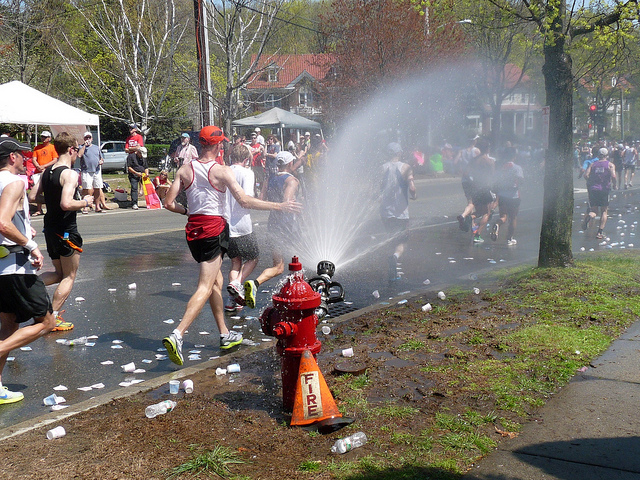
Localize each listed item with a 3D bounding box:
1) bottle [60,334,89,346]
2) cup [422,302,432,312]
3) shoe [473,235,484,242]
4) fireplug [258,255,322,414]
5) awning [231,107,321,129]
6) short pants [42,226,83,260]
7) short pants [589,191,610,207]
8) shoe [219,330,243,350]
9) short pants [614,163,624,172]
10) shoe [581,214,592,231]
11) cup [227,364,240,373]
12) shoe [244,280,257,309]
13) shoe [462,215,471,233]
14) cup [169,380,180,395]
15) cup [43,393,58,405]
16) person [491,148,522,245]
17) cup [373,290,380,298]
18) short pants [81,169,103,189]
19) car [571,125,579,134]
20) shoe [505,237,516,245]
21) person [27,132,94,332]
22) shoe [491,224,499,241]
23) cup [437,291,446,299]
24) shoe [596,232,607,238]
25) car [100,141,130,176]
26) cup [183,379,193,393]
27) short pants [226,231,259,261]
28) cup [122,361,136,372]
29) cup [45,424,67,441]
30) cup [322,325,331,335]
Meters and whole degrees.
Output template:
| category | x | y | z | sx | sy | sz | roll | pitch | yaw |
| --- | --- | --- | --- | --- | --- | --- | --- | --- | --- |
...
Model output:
| category | x | y | z | sx | sy | sz | roll | pitch | yaw |
| --- | --- | --- | --- | --- | --- | --- | --- | --- | --- |
| bottle | -2.900 | 1.155 | 6.815 | 0.330 | 0.070 | 0.225 | -2 | 10 | -2 |
| cup | 1.336 | 0.838 | 7.423 | 0.090 | 0.090 | 0.144 | -15 | 0 | 30 |
| shoe | 3.542 | -0.036 | 12.907 | 0.262 | 0.176 | 0.088 | -10 | 18 | -26 |
| fireplug | -0.223 | 0.774 | 4.941 | 0.687 | 1.139 | 0.610 | 7 | 10 | -17 |
| awning | -2.130 | -6.079 | 29.095 | 1.873 | 1.001 | 4.603 | 3 | 11 | 24 |
| short pants | -3.033 | 0.050 | 6.798 | 0.410 | 0.373 | 0.262 | -4 | 0 | 13 |
| short pants | 6.457 | -0.941 | 13.429 | 0.504 | 0.378 | 0.296 | -2 | -5 | 23 |
| shoe | -1.007 | 1.123 | 6.628 | 0.119 | 0.129 | 0.283 | 5 | 11 | 36 |
| short pants | 13.045 | -3.137 | 25.396 | 0.359 | 0.427 | 0.881 | 4 | 11 | 26 |
| shoe | 6.131 | -0.401 | 13.370 | 0.167 | 0.450 | 0.192 | 21 | -11 | 2 |
| cup | -0.865 | 1.256 | 5.765 | 0.119 | 0.070 | 0.121 | -1 | 10 | 0 |
| shoe | -0.838 | 0.648 | 6.988 | 0.127 | 0.319 | 0.148 | -2 | 28 | 18 |
| shoe | 3.344 | -0.368 | 13.281 | 0.153 | 0.454 | 0.312 | 2 | 43 | 20 |
| cup | -1.330 | 1.331 | 5.331 | 0.108 | 0.097 | 0.099 | 0 | 5 | 0 |
| cup | -2.470 | 1.430 | 5.302 | 0.100 | 0.074 | 0.090 | -1 | -4 | -18 |
| person | 4.010 | -0.918 | 12.522 | 0.602 | 2.062 | 0.541 | 1 | 10 | 14 |
| cup | 0.804 | 0.766 | 8.350 | 0.077 | 0.057 | 0.077 | -5 | 4 | 0 |
| short pants | -6.498 | -1.703 | 16.421 | 0.668 | 0.596 | 0.376 | -4 | 19 | -17 |
| car | 35.218 | -14.976 | 79.880 | 0.601 | 1.020 | 9.739 | 3 | 11 | 24 |
| shoe | 4.179 | 0.028 | 12.778 | 0.326 | 0.197 | 0.110 | -1 | -4 | -38 |
| person | -2.983 | -0.029 | 6.755 | 0.655 | 2.376 | 1.137 | -6 | 11 | -25 |
| shoe | 3.801 | -0.150 | 12.684 | 0.126 | 0.418 | 0.522 | 2 | 11 | 18 |
| cup | 1.664 | 0.753 | 7.990 | 0.093 | 0.092 | 0.071 | -9 | 11 | 1 |
| shoe | 6.503 | -0.112 | 13.431 | 0.128 | 0.157 | 0.355 | 1 | 0 | 39 |
| car | -11.848 | -4.693 | 33.233 | 0.904 | 1.759 | 1.838 | 2 | 10 | 16 |
| cup | -1.206 | 1.318 | 5.294 | 0.094 | 0.096 | 0.139 | -20 | 15 | -3 |
| short pants | -0.997 | 0.078 | 7.502 | 0.459 | 0.373 | 0.316 | -5 | 2 | -18 |
| cup | -1.973 | 1.290 | 5.989 | 0.082 | 0.097 | 0.114 | 6 | 2 | 38 |
| cup | -2.145 | 1.521 | 4.642 | 0.210 | 0.090 | 0.125 | 0 | 10 | 9 |
| cup | 0.063 | 1.013 | 6.568 | 0.095 | 0.088 | 0.095 | 0 | 9 | 0 |
